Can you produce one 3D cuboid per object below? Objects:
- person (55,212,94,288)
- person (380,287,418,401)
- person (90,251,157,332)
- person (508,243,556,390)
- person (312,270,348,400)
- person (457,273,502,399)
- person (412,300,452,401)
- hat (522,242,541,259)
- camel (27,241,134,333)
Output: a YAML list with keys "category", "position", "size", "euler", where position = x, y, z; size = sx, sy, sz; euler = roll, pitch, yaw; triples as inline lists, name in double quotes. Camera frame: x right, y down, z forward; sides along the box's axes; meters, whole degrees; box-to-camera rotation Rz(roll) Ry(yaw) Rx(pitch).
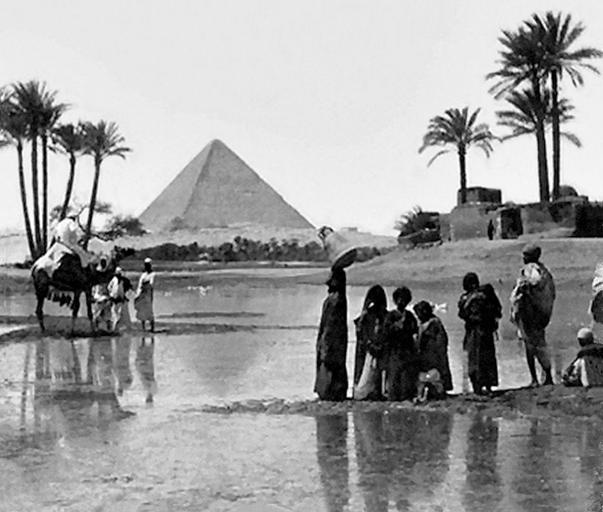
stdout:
- category: "person"
  position: [-3.657, -0.089, 14.613]
  size: [0.525, 1.264, 0.969]
  euler: [-1, -7, -11]
- category: "person"
  position: [1.026, 1.009, 9.460]
  size: [0.383, 0.951, 0.341]
  euler: [-2, -6, -4]
- category: "person"
  position: [-3.343, 0.687, 17.153]
  size: [1.212, 1.853, 0.609]
  euler: [3, 17, 0]
- category: "person"
  position: [2.516, 0.636, 9.952]
  size: [0.470, 1.520, 0.378]
  euler: [-4, -6, 16]
- category: "person"
  position: [0.292, 0.823, 9.575]
  size: [0.366, 1.382, 0.390]
  euler: [-4, -6, 14]
- category: "person"
  position: [1.913, 0.809, 9.784]
  size: [0.436, 1.312, 0.375]
  euler: [-3, -6, 11]
- category: "person"
  position: [1.336, 0.978, 9.600]
  size: [0.350, 1.067, 0.578]
  euler: [-5, -7, 23]
- category: "hat"
  position: [2.496, -0.055, 10.010]
  size: [0.182, 0.173, 0.140]
  euler: [14, 11, 36]
- category: "camel"
  position: [-4.056, 0.614, 16.464]
  size: [1.617, 1.723, 0.736]
  euler: [0, -1, -9]
